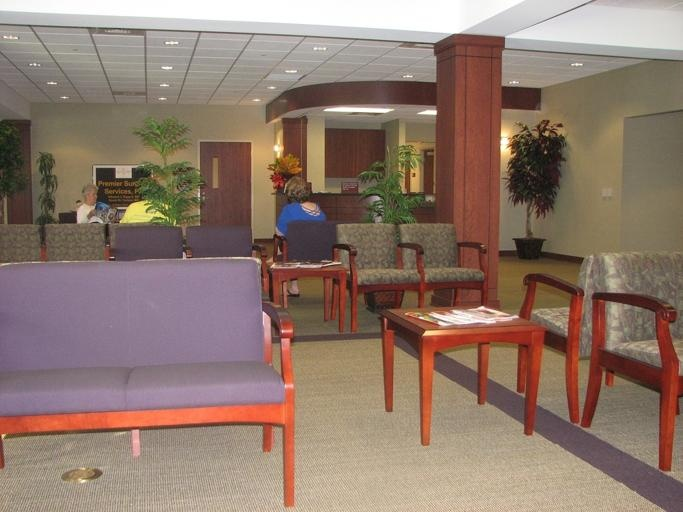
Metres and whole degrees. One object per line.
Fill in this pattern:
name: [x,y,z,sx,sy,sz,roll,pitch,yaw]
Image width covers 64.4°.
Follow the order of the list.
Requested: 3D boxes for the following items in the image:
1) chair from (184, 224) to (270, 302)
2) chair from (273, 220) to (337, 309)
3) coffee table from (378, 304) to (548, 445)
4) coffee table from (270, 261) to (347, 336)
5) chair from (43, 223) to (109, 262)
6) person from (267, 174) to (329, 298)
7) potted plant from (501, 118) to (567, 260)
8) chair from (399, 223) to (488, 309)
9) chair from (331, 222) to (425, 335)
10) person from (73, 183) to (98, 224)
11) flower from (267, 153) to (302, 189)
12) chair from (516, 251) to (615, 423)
chair: [-1.276,0.017,6.599,0.971,1.289,0.962,-1,3,-15]
chair: [-0.333,0.072,6.217,0.764,1.126,0.841,-1,8,-12]
coffee table: [0.698,0.537,3.442,0.820,0.731,0.830,-3,13,-13]
coffee table: [-0.372,0.430,5.838,0.773,0.750,0.758,-1,3,-7]
chair: [-3.084,-0.119,6.331,0.617,0.441,0.345,-1,-6,7]
person: [-0.614,-0.278,7.389,0.740,1.628,0.768,-10,27,-36]
potted plant: [4.027,-1.357,11.312,1.175,2.901,0.735,2,8,17]
chair: [1.284,0.077,6.216,0.959,1.250,0.955,-1,1,-18]
chair: [0.368,0.182,5.874,0.784,1.114,0.854,-1,4,-15]
person: [-3.506,-0.708,7.348,0.237,0.491,2.200,-4,8,-26]
flower: [-1.328,-1.903,12.335,0.922,1.002,0.909,0,2,-4]
chair: [1.467,0.521,3.718,0.543,0.971,0.569,9,0,33]
